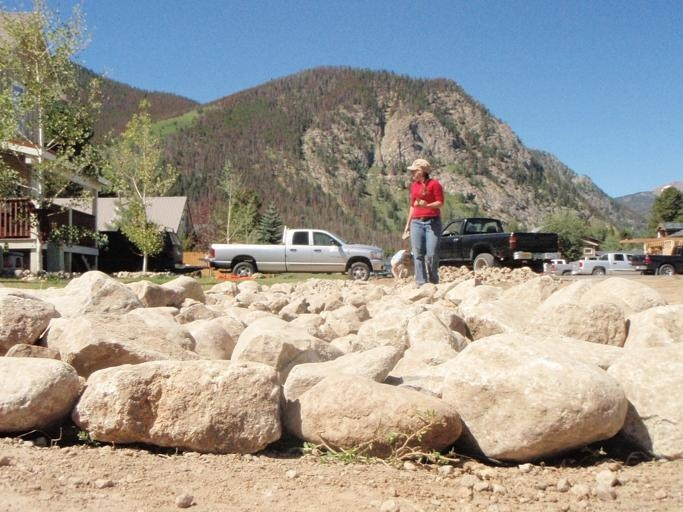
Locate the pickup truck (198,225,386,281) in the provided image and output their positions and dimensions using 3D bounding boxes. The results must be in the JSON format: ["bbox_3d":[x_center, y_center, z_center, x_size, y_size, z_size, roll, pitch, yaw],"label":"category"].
[{"bbox_3d":[-1.206,-0.017,20.770,3.870,1.517,1.910,-1,0,0],"label":"pickup truck"}]

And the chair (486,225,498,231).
[{"bbox_3d":[3.762,-0.709,19.786,0.229,0.193,0.140,-1,-8,5],"label":"chair"}]

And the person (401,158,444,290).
[{"bbox_3d":[1.230,-0.569,11.869,0.588,1.960,1.265,-1,-1,8],"label":"person"}]

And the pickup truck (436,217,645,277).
[{"bbox_3d":[3.736,-0.341,19.360,1.394,1.435,3.181,0,-1,-31],"label":"pickup truck"}]
